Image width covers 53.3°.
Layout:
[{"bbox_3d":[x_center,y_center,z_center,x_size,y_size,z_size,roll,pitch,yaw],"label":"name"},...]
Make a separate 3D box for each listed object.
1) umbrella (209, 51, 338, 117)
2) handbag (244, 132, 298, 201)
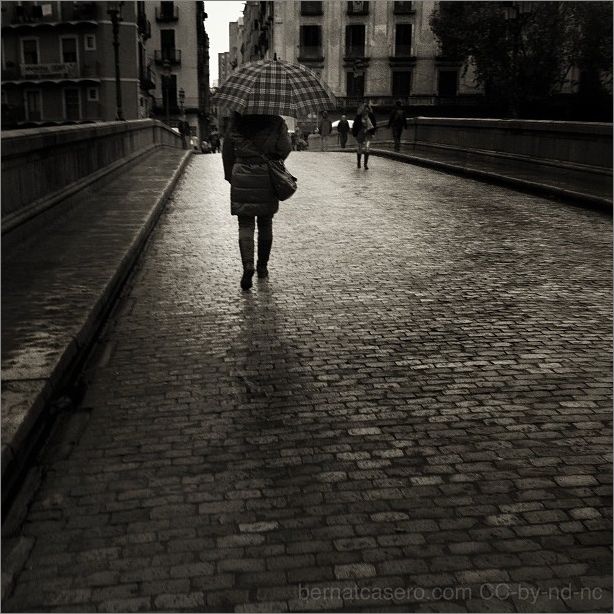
[{"bbox_3d":[-0.319,-2.184,6.066,1.218,0.582,0.647,-2,14,-8],"label":"umbrella"},{"bbox_3d":[-0.372,-1.414,6.291,0.522,0.584,0.303,1,13,6],"label":"handbag"}]
